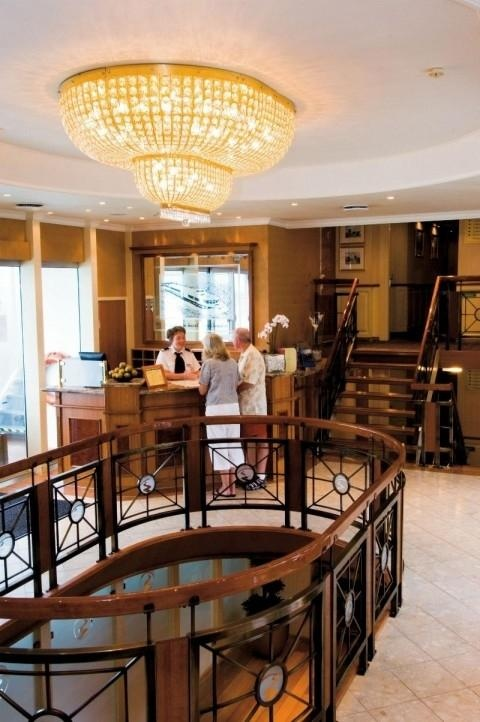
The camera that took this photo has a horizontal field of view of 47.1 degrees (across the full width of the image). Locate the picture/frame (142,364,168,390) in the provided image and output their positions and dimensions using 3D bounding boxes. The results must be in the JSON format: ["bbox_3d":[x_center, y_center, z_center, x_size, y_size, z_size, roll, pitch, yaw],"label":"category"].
[{"bbox_3d":[-0.888,0.168,5.686,0.022,0.202,0.226,-13,0,32],"label":"picture/frame"}]

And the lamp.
[{"bbox_3d":[-0.308,-1.370,3.805,1.693,0.792,1.676,-10,21,-44],"label":"lamp"}]

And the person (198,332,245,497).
[{"bbox_3d":[-0.178,0.576,5.341,0.439,1.679,0.927,-1,3,-4],"label":"person"}]

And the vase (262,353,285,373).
[{"bbox_3d":[0.396,0.019,6.418,0.200,0.213,0.213,0,0,7],"label":"vase"}]

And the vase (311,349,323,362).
[{"bbox_3d":[1.198,-0.131,8.620,0.182,0.195,0.238,-5,-11,7],"label":"vase"}]

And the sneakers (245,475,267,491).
[{"bbox_3d":[0.163,1.216,5.597,0.248,0.173,0.321,-2,-3,0],"label":"sneakers"}]

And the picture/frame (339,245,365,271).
[{"bbox_3d":[2.314,-2.134,11.288,0.478,0.493,0.036,2,3,12],"label":"picture/frame"}]

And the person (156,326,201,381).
[{"bbox_3d":[-0.724,-0.033,6.395,0.526,0.764,0.424,-1,-11,-15],"label":"person"}]
